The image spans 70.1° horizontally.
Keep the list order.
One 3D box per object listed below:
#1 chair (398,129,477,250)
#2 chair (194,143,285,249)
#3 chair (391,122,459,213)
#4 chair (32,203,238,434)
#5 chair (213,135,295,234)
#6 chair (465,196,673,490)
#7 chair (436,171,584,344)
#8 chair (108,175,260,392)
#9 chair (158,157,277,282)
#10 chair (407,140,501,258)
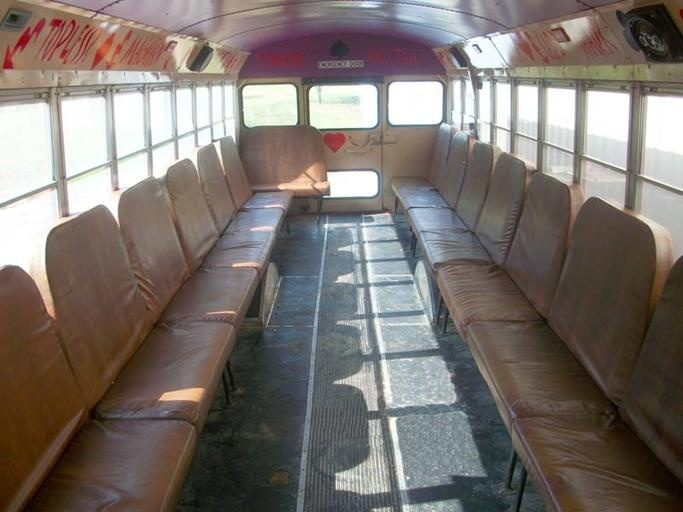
[{"bbox_3d":[1.433,-0.998,7.223,0.720,1.369,1.896,-2,20,-1],"label":"chair"},{"bbox_3d":[-1.437,-0.837,6.871,0.773,1.119,1.557,-6,23,-2],"label":"chair"},{"bbox_3d":[1.419,-1.535,8.224,0.698,1.157,1.542,-1,21,2],"label":"chair"},{"bbox_3d":[-1.230,0.552,3.554,1.166,1.459,1.511,-1,17,-6],"label":"chair"},{"bbox_3d":[-1.339,-1.120,7.807,1.098,1.516,1.498,-2,18,-6],"label":"chair"},{"bbox_3d":[1.515,0.600,3.212,0.875,1.534,1.673,2,13,0],"label":"chair"},{"bbox_3d":[1.576,0.127,4.571,1.243,1.481,1.551,-3,17,-4],"label":"chair"},{"bbox_3d":[-1.389,0.270,4.236,0.918,1.343,1.785,-4,14,-1],"label":"chair"},{"bbox_3d":[-1.302,-0.519,5.773,1.117,1.337,1.489,4,29,-1],"label":"chair"},{"bbox_3d":[1.893,-1.176,7.892,0.731,1.234,1.739,18,11,-8],"label":"chair"}]
